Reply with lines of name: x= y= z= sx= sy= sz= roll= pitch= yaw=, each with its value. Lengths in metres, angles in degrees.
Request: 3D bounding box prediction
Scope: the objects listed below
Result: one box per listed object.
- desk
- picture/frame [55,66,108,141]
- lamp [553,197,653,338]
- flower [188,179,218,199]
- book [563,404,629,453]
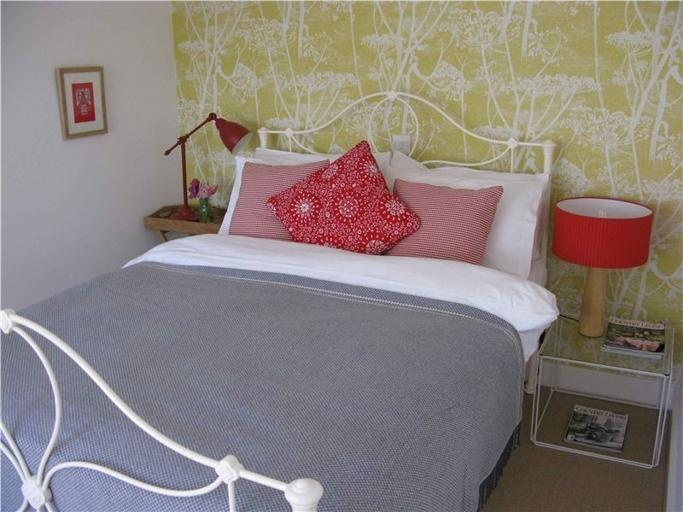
desk: x=1.248 y=0.672 z=2.529 sx=0.629 sy=0.603 sz=0.680 roll=16 pitch=29 yaw=9
picture/frame: x=-1.424 y=-0.838 z=2.767 sx=0.039 sy=0.420 sz=0.363 roll=12 pitch=21 yaw=31
lamp: x=1.272 y=0.045 z=2.431 sx=0.387 sy=0.647 sz=0.401 roll=8 pitch=27 yaw=21
flower: x=-0.846 y=-0.399 z=3.168 sx=0.147 sy=0.090 sz=0.150 roll=27 pitch=34 yaw=23
book: x=1.212 y=0.821 z=2.413 sx=0.184 sy=0.027 sz=0.205 roll=2 pitch=19 yaw=17
